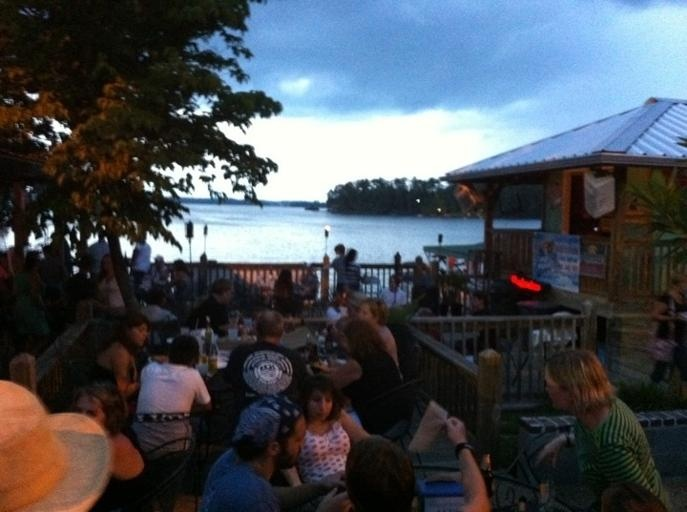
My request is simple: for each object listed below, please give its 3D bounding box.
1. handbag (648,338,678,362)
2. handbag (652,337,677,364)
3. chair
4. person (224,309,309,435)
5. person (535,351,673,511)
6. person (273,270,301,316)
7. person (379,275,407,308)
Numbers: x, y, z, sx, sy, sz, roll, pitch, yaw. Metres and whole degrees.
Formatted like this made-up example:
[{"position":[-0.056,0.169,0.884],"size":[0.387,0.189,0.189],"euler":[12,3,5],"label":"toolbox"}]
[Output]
[{"position":[4.884,1.453,8.409],"size":[0.250,0.327,0.307],"euler":[6,-8,0],"label":"handbag"},{"position":[4.891,1.439,8.410],"size":[0.266,0.336,0.315],"euler":[21,-1,-10],"label":"handbag"},{"position":[0.636,1.411,5.662],"size":[3.919,1.490,1.476],"euler":[0,7,-6],"label":"chair"},{"position":[-0.780,1.147,5.457],"size":[0.784,1.821,0.910],"euler":[1,11,-3],"label":"person"},{"position":[1.779,1.235,3.684],"size":[0.635,0.993,0.802],"euler":[1,0,-27],"label":"person"},{"position":[-1.051,0.825,10.054],"size":[0.296,1.251,0.413],"euler":[-5,9,-10],"label":"person"},{"position":[1.171,0.814,12.816],"size":[0.670,0.925,0.350],"euler":[1,2,23],"label":"person"}]
